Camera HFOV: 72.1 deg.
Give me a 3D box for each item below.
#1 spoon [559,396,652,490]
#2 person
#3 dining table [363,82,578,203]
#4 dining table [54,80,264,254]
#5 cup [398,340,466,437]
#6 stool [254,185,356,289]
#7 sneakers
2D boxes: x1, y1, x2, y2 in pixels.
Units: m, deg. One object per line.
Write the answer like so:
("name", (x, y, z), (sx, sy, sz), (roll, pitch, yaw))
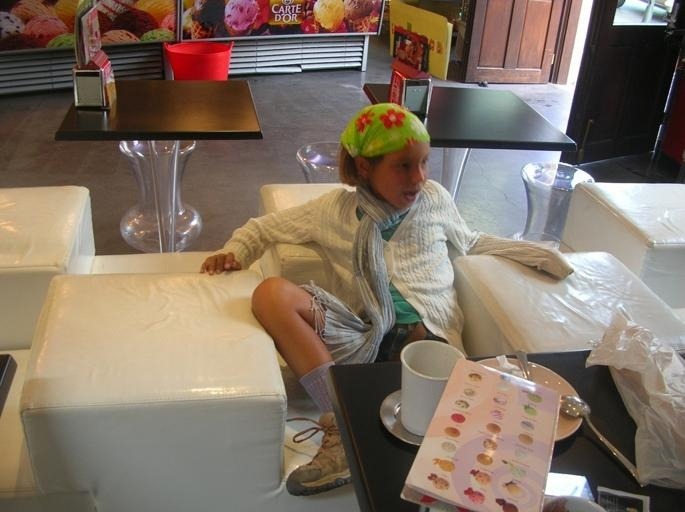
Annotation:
("spoon", (0.451, 0.306, 0.840), (0.044, 0.034, 0.232), (-10, 42, -4))
("person", (0.216, 0.092, 1.634), (1.246, 1.251, 0.793), (-5, 16, -9))
("dining table", (0.734, -0.762, 2.523), (0.701, 0.475, 0.742), (0, 38, -9))
("dining table", (-0.850, -0.312, 2.363), (0.686, 0.580, 0.688), (2, -3, 26))
("cup", (0.150, 0.224, 0.824), (0.104, 0.142, 0.109), (1, 23, -1))
("stool", (-0.160, 0.026, 1.984), (0.360, 0.278, 0.544), (-5, 41, -10))
("sneakers", (-0.057, 0.547, 1.300), (0.256, 0.186, 0.094), (1, -21, -42))
